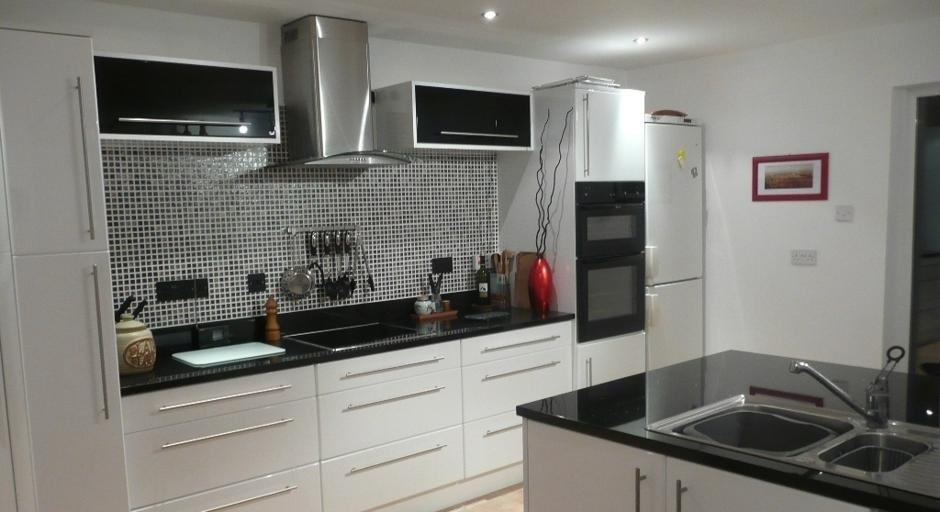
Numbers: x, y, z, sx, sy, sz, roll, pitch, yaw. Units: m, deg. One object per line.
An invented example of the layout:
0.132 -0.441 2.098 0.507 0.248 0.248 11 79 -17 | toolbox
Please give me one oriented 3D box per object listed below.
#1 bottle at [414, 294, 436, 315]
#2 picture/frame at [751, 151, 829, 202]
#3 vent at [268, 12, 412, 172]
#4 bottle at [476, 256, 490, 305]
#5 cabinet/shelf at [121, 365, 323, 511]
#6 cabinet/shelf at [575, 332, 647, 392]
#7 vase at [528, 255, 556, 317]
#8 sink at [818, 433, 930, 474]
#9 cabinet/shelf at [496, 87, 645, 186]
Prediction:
-0.390 0.435 5.691 0.197 0.140 0.145 5 -6 -37 | bottle
3.095 -0.760 6.219 0.600 0.371 0.022 1 2 39 | picture/frame
-1.098 -1.321 5.537 1.274 1.200 1.204 -4 6 -29 | vent
0.123 0.218 6.060 0.125 0.446 0.133 -3 7 0 | bottle
-1.680 1.248 4.508 1.399 0.689 0.963 -2 -2 -39 | cabinet/shelf
1.274 0.938 5.904 0.899 0.503 0.467 -3 2 -35 | cabinet/shelf
0.651 0.248 5.764 0.216 0.510 0.240 -4 7 -8 | vase
2.090 1.030 3.379 0.382 0.117 0.285 -3 2 -33 | sink
1.064 -0.976 6.158 1.268 1.081 0.928 -4 5 -39 | cabinet/shelf
